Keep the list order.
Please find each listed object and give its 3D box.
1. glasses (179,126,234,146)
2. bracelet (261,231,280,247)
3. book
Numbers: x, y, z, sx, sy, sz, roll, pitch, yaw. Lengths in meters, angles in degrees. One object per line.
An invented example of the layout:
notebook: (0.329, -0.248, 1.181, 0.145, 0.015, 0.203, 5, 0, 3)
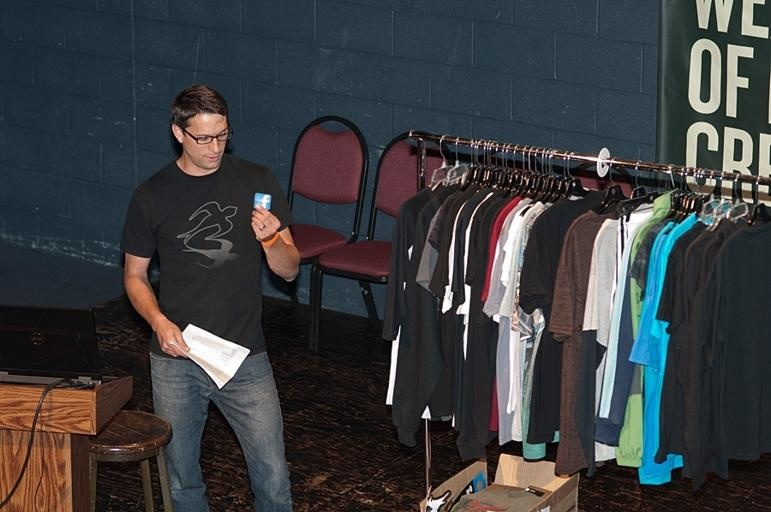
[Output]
glasses: (-0.808, -0.539, 3.599, 0.232, 0.079, 0.118, -1, 6, -15)
bracelet: (-0.522, -0.070, 3.636, 0.082, 0.074, 0.097, 0, 5, -8)
book: (-0.763, 0.443, 3.565, 0.302, 0.218, 0.081, 32, -26, 5)
